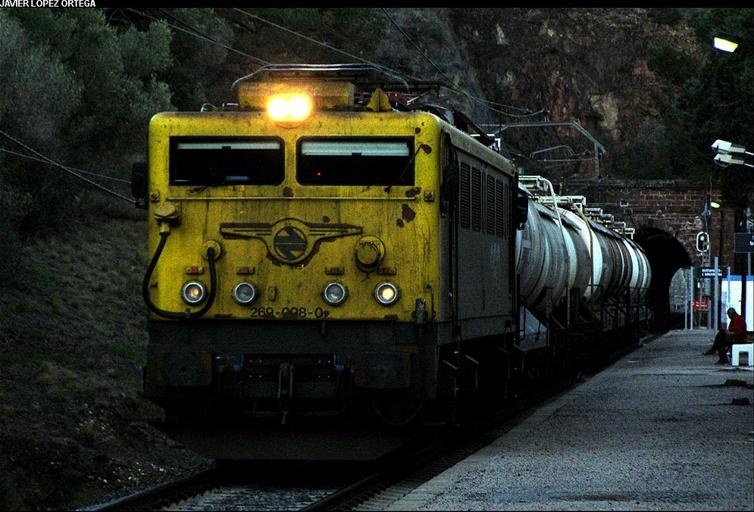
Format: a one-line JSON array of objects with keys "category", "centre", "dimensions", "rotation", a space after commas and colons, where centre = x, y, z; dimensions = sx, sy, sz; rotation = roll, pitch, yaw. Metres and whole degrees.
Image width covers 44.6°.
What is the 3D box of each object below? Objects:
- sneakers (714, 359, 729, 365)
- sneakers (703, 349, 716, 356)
[{"category": "sneakers", "centre": [10.038, 3.107, 26.774], "dimensions": [0.485, 0.199, 0.158], "rotation": [4, -4, -1]}, {"category": "sneakers", "centre": [10.839, 3.111, 29.658], "dimensions": [0.602, 0.227, 0.195], "rotation": [2, -3, -20]}]
